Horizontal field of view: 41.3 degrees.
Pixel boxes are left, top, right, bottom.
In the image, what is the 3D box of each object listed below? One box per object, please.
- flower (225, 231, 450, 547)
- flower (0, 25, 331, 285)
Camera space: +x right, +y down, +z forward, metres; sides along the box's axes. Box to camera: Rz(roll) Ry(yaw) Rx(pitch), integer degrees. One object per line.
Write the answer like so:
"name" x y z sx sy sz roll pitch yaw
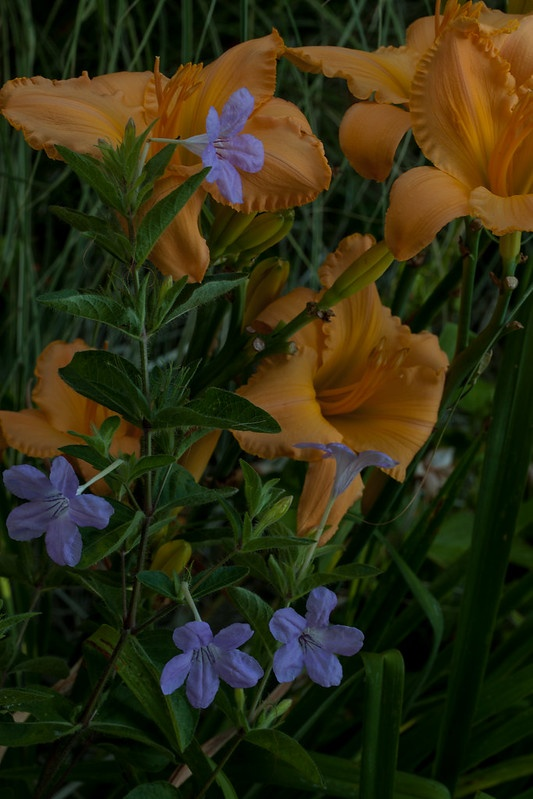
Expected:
"flower" 0.046 -0.011 0.485 0.173 0.090 0.131 24 39 34
"flower" -0.045 -0.155 0.375 0.183 0.089 0.174 7 43 -11
